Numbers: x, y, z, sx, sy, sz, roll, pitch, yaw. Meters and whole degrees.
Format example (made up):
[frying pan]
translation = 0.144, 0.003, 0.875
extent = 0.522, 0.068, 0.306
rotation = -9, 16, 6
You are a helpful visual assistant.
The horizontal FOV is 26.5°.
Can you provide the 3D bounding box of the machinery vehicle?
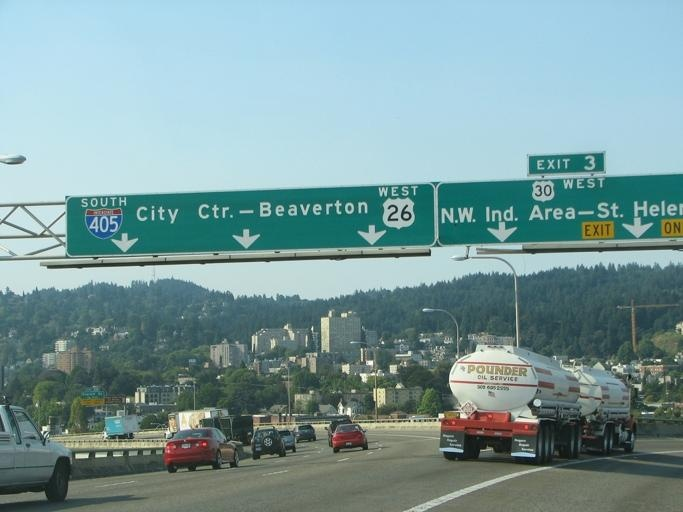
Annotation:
[machinery vehicle]
translation = 9.858, 7.367, 70.344
extent = 4.864, 5.467, 14.357
rotation = -8, -9, 31
